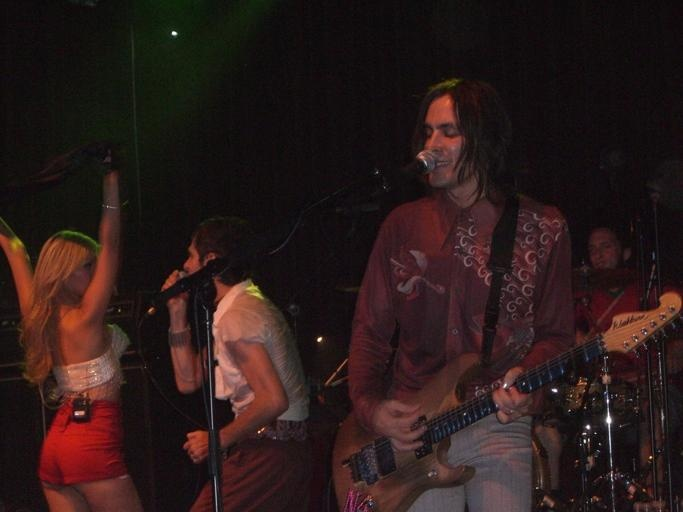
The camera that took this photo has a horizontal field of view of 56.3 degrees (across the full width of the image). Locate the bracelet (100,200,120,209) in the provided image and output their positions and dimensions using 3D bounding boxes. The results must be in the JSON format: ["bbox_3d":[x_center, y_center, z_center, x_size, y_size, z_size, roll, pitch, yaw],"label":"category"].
[{"bbox_3d":[-1.616,-0.355,4.499,0.121,0.063,0.053,-3,-8,-21],"label":"bracelet"}]

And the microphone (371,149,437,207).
[{"bbox_3d":[0.345,-0.447,3.470,0.404,0.235,0.256,-2,-9,-31],"label":"microphone"}]

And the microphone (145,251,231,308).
[{"bbox_3d":[-1.086,0.180,4.477,0.554,0.168,0.121,-40,-34,3],"label":"microphone"}]

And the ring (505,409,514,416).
[{"bbox_3d":[0.851,0.791,3.216,0.025,0.012,0.036,9,-46,6],"label":"ring"}]

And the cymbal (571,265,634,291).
[{"bbox_3d":[2.618,0.239,6.482,0.423,0.179,0.322,-1,-3,-8],"label":"cymbal"}]

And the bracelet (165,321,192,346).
[{"bbox_3d":[-1.141,0.552,4.556,0.130,0.107,0.138,0,-7,1],"label":"bracelet"}]
